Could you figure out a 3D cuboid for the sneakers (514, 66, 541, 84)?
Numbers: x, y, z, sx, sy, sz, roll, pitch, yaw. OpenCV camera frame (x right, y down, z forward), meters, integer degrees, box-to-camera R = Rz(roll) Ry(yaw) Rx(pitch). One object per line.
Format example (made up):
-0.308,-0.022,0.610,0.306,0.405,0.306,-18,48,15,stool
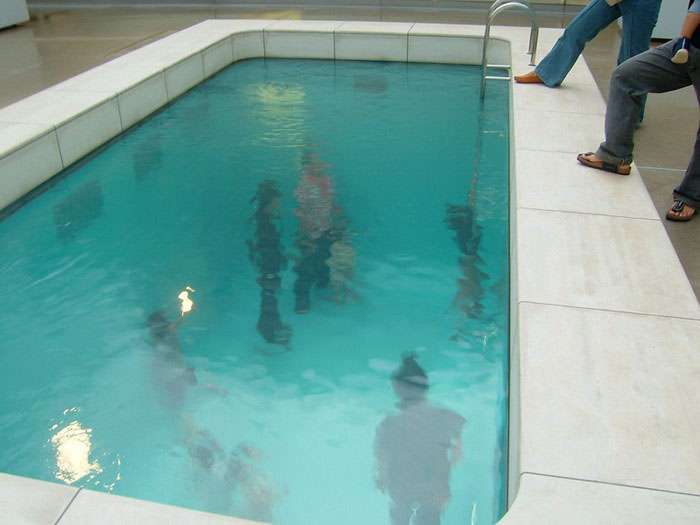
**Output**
1.614,-1.686,4.988,0.293,0.119,0.096,19,35,33,sneakers

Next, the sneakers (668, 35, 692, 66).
1.696,-1.098,2.875,0.052,0.067,0.163,3,57,17,sneakers
